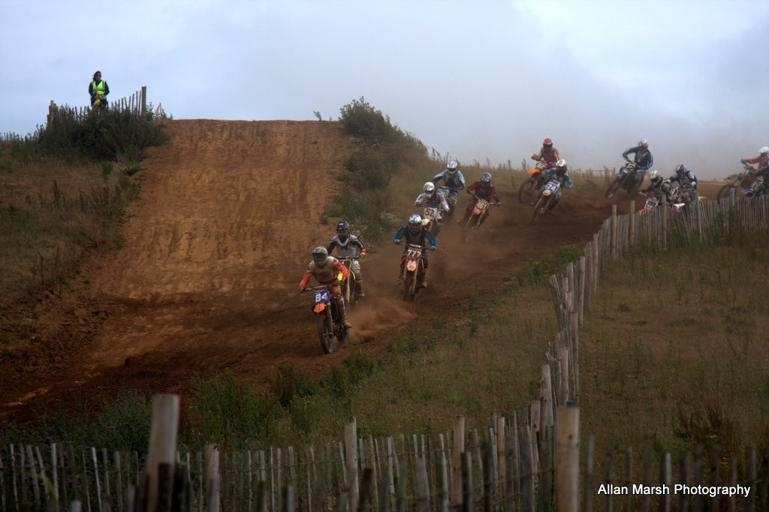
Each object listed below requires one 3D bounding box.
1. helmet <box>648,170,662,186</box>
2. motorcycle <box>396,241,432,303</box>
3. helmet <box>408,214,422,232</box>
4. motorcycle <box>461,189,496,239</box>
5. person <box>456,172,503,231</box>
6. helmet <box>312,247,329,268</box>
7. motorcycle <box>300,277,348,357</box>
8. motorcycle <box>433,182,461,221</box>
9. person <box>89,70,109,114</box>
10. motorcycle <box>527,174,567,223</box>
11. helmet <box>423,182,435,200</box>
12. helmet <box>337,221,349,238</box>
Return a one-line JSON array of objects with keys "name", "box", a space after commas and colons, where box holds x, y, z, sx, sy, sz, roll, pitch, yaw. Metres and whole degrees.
[{"name": "helmet", "box": [8.803, -2.499, 29.125, 0.332, 0.491, 0.535, -14, 16, -30]}, {"name": "motorcycle", "box": [0.703, 0.465, 23.476, 0.619, 1.532, 0.965, 0, 15, 24]}, {"name": "helmet", "box": [0.815, -0.863, 23.669, 0.347, 0.448, 0.347, -7, 14, -6]}, {"name": "motorcycle", "box": [2.904, -1.320, 28.124, 0.826, 1.023, 1.781, 28, 12, 1]}, {"name": "person", "box": [2.999, -1.699, 28.142, 1.013, 1.156, 1.998, 31, 15, 1]}, {"name": "helmet", "box": [-1.561, 0.038, 21.478, 0.365, 0.517, 0.423, -7, 14, -5]}, {"name": "motorcycle", "box": [-1.365, 1.468, 21.415, 0.580, 1.728, 1.259, -2, 14, 18]}, {"name": "motorcycle", "box": [2.045, -1.773, 28.414, 0.545, 0.765, 1.360, -6, 43, 10]}, {"name": "person", "box": [-10.876, -6.255, 33.801, 0.663, 1.378, 2.263, -10, 15, -16]}, {"name": "motorcycle", "box": [5.498, -2.039, 29.571, 0.878, 1.595, 1.257, 7, 19, 42]}, {"name": "helmet", "box": [1.326, -2.016, 27.166, 0.324, 0.404, 0.407, -4, 5, 9]}, {"name": "helmet", "box": [-1.074, -0.661, 23.048, 0.278, 0.453, 0.404, -8, 14, -9]}]
